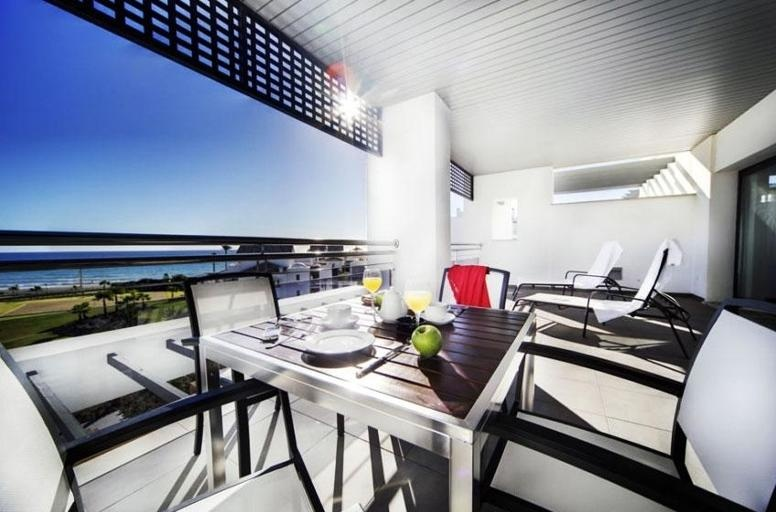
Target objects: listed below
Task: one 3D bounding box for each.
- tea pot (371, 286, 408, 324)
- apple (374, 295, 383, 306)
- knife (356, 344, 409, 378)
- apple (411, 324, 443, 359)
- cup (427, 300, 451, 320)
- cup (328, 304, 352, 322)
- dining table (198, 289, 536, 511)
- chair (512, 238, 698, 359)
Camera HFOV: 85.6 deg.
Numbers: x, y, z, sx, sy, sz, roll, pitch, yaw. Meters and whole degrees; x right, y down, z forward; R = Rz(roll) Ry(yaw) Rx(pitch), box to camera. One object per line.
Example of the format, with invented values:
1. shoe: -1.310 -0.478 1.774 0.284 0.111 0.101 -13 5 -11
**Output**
1. tea pot: 0.018 0.413 3.414 0.303 0.264 0.213 -5 0 18
2. apple: -0.086 0.376 3.551 0.089 0.105 0.089 1 -5 4
3. knife: -0.004 0.751 3.103 0.134 0.059 0.566 29 36 36
4. apple: 0.287 0.647 3.155 0.242 0.227 0.244 -9 16 9
5. cup: 0.402 0.440 3.407 0.141 0.085 0.134 -6 -3 0
6. cup: -0.387 0.449 3.324 0.127 0.095 0.133 -4 -12 -1
7. dining table: -0.070 0.887 3.197 1.641 1.014 1.573 3 8 30
8. chair: 2.787 0.446 5.587 2.098 1.194 0.959 4 0 33
